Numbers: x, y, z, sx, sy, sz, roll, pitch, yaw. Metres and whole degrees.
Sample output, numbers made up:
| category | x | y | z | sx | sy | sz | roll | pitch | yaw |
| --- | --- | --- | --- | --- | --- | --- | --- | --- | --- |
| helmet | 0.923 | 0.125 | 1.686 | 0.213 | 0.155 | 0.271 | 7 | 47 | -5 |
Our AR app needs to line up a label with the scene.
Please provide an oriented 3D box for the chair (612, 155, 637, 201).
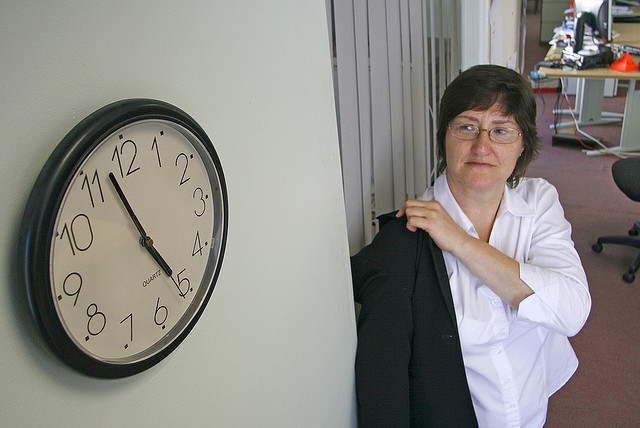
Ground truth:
| category | x | y | z | sx | sy | sz | roll | pitch | yaw |
| --- | --- | --- | --- | --- | --- | --- | --- | --- | --- |
| chair | 1.811 | -0.205 | 3.481 | 0.128 | 0.222 | 0.416 | 1 | 17 | 27 |

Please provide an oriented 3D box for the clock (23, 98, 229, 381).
| category | x | y | z | sx | sy | sz | roll | pitch | yaw |
| --- | --- | --- | --- | --- | --- | --- | --- | --- | --- |
| clock | -0.296 | 0.043 | 0.956 | 0.055 | 0.448 | 0.443 | 7 | 17 | 23 |
